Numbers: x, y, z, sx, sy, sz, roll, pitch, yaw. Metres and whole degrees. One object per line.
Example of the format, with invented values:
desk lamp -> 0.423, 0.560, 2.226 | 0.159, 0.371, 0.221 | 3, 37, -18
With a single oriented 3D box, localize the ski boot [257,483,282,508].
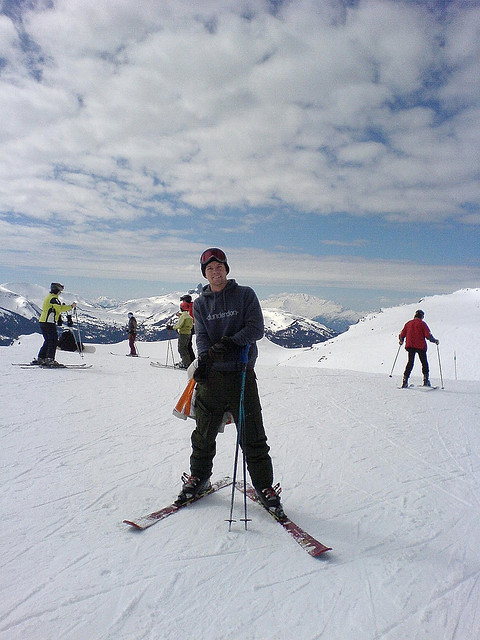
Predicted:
ski boot -> 0.315, 1.778, 4.725 | 0.122, 0.150, 0.354 | 1, -13, -24

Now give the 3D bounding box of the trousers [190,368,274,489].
trousers -> -0.091, 1.110, 4.942 | 0.861, 1.378, 0.406 | 2, 6, 6

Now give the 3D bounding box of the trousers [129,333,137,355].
trousers -> -5.471, 1.229, 23.741 | 0.316, 1.164, 1.888 | 0, 3, -13

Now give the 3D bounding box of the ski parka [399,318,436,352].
ski parka -> 4.808, 0.430, 12.830 | 0.552, 0.931, 1.075 | -1, 4, -21

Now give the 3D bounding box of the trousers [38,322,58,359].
trousers -> -5.697, 0.654, 13.887 | 0.516, 1.226, 1.572 | -1, 4, -23

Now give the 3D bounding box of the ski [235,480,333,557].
ski -> 0.423, 1.949, 4.621 | 0.245, 0.070, 1.381 | -1, 3, -26

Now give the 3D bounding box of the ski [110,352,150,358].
ski -> -6.048, 1.917, 25.312 | 2.036, 0.142, 0.274 | 10, 10, -3

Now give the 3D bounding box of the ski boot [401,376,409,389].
ski boot -> 4.522, 1.703, 12.857 | 0.137, 0.324, 0.482 | 2, 4, 26

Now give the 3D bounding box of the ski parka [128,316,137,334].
ski parka -> -5.189, 0.309, 22.505 | 0.351, 0.763, 0.952 | 0, 3, -8

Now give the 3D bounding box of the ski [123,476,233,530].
ski -> -0.545, 1.865, 5.031 | 0.201, 0.221, 1.586 | -6, 1, 37
